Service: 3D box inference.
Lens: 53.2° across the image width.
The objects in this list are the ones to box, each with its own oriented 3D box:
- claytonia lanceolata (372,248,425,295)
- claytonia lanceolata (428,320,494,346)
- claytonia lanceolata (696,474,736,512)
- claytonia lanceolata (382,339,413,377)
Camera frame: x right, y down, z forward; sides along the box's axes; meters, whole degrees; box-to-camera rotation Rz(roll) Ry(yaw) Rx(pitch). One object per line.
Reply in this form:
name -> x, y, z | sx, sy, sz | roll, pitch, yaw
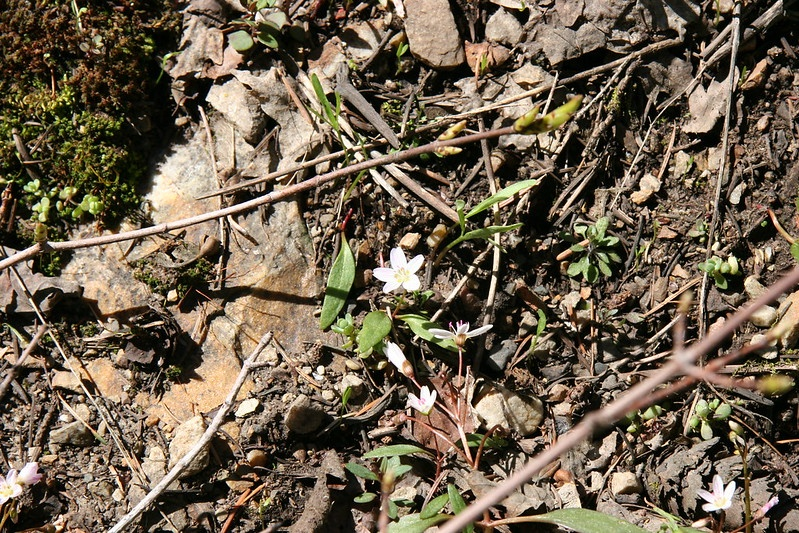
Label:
claytonia lanceolata -> -0.009, 0.028, 5.286 | 0.305, 0.250, 0.240 | 2, 31, 24
claytonia lanceolata -> 0.407, 0.442, 5.200 | 0.241, 0.108, 0.243 | -1, -2, 42
claytonia lanceolata -> 2.070, 1.503, 5.178 | 0.228, 0.127, 0.293 | -19, 54, 40
claytonia lanceolata -> -0.013, 0.597, 5.224 | 0.120, 0.086, 0.299 | -24, 60, -5
